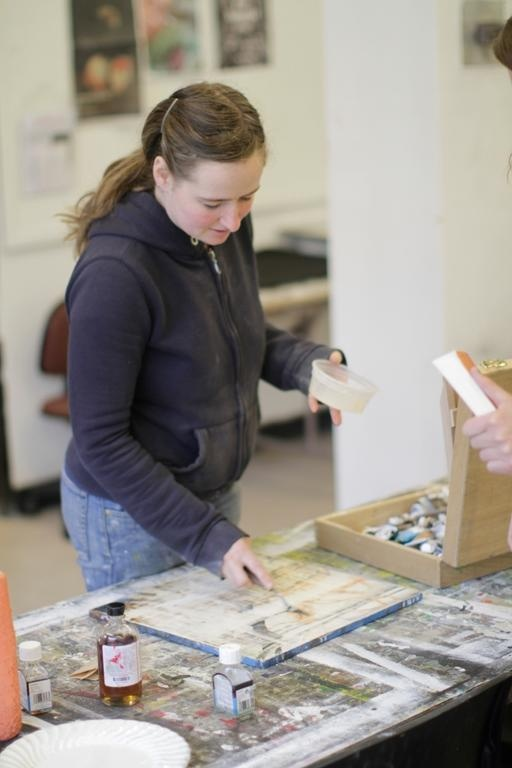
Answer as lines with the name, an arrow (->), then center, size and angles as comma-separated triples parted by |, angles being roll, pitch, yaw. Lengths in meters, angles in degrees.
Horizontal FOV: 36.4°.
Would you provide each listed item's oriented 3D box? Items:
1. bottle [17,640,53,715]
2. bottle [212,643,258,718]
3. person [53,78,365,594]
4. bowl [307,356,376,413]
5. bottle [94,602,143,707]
bottle -> -0.268, 0.370, 0.964 | 0.047, 0.077, 0.045 | -9, -9, -2
bottle -> -0.026, 0.359, 0.946 | 0.057, 0.069, 0.050 | -8, -6, 21
person -> -0.073, -0.034, 1.373 | 0.554, 0.912, 0.468 | -4, 10, -13
bowl -> 0.160, 0.017, 1.486 | 0.132, 0.045, 0.095 | 20, 7, 8
bottle -> -0.174, 0.333, 0.979 | 0.053, 0.134, 0.078 | -4, 9, -13
